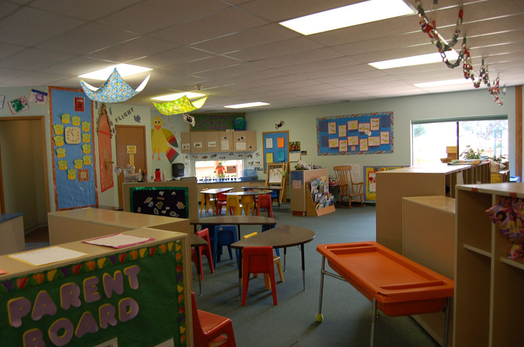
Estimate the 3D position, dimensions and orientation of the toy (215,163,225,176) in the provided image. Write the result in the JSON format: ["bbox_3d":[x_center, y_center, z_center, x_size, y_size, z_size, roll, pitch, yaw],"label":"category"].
[{"bbox_3d":[-1.488,-0.151,13.042,0.389,0.504,0.184,-5,8,-18],"label":"toy"}]

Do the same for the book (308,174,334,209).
[{"bbox_3d":[1.690,0.541,10.601,0.228,0.794,0.893,-9,-6,39],"label":"book"}]

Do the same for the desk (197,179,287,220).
[{"bbox_3d":[-0.674,0.812,11.048,2.752,1.006,3.579,-2,7,-1],"label":"desk"}]

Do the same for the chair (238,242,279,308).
[{"bbox_3d":[-0.004,1.371,5.184,0.771,0.993,0.704,-1,0,9],"label":"chair"}]

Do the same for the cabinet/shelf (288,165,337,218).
[{"bbox_3d":[1.500,0.542,10.988,1.145,1.610,2.063,-1,1,34],"label":"cabinet/shelf"}]
